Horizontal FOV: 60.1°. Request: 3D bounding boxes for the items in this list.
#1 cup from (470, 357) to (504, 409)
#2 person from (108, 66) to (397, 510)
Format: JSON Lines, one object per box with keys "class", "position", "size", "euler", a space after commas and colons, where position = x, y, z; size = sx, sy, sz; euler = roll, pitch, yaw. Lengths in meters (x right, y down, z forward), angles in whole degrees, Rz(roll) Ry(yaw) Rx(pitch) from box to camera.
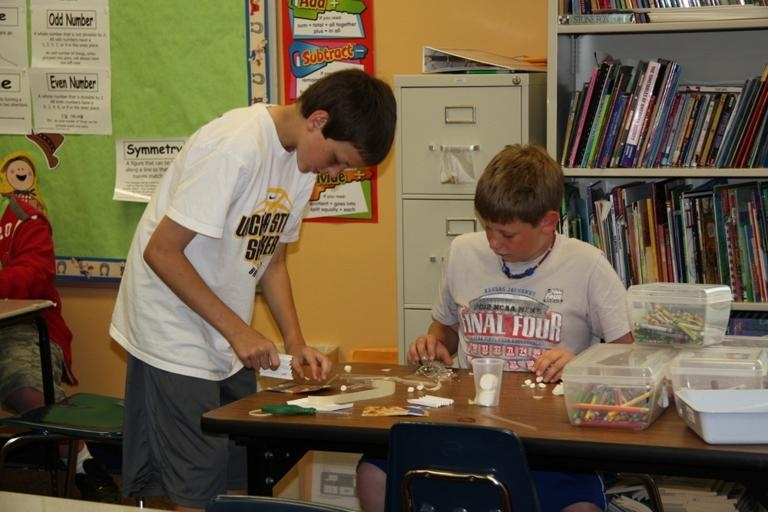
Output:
{"class": "cup", "position": [0.321, 0.389, 2.074], "size": [0.123, 0.143, 0.119], "euler": [3, -3, 0]}
{"class": "person", "position": [-0.480, 0.108, 2.318], "size": [0.916, 1.475, 0.574], "euler": [-6, 14, -25]}
